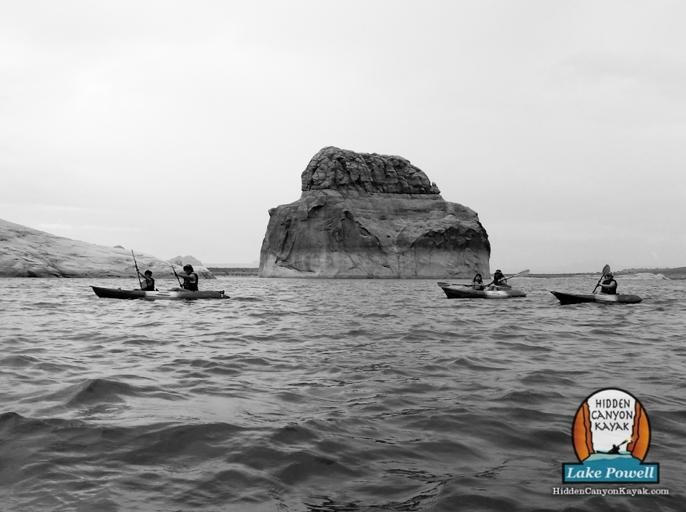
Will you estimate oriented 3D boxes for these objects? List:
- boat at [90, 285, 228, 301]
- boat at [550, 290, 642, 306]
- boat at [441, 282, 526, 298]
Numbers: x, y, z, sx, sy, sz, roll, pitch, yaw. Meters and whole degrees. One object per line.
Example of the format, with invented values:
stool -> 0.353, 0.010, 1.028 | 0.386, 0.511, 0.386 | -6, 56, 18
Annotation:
boat -> -7.460, 1.480, 22.545 | 4.032, 0.395, 0.671 | 5, -7, -7
boat -> 9.286, 1.548, 20.590 | 3.413, 0.459, 0.980 | 0, 3, -19
boat -> 6.440, 1.590, 24.240 | 3.900, 0.464, 1.031 | 5, -7, -14
